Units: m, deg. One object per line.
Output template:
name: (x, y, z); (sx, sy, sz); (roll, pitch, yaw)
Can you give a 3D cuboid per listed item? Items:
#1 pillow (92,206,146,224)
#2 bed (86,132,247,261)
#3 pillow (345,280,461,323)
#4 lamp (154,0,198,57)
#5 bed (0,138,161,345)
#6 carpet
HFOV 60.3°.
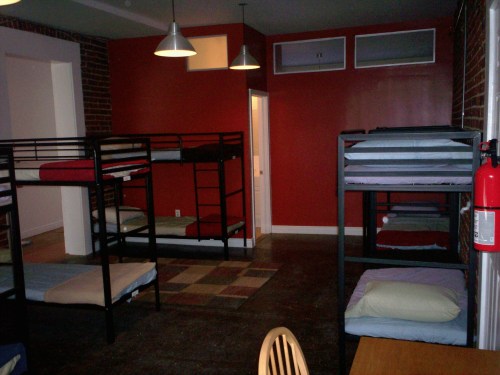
pillow: (-2.038, 0.420, 6.805); (0.375, 0.148, 0.564); (5, 6, 5)
bed: (-1.280, 0.073, 6.915); (2.271, 1.762, 1.216); (-2, 6, 12)
pillow: (1.497, 0.974, 3.773); (0.985, 0.238, 0.818); (-13, -4, 39)
lamp: (-0.835, -1.625, 4.696); (0.402, 0.339, 0.371); (4, 14, 26)
bed: (-1.958, 0.636, 5.103); (2.347, 2.036, 1.471); (2, 8, 21)
carpet: (-0.693, 1.209, 5.705); (1.672, 0.013, 1.376); (-1, 15, 7)
